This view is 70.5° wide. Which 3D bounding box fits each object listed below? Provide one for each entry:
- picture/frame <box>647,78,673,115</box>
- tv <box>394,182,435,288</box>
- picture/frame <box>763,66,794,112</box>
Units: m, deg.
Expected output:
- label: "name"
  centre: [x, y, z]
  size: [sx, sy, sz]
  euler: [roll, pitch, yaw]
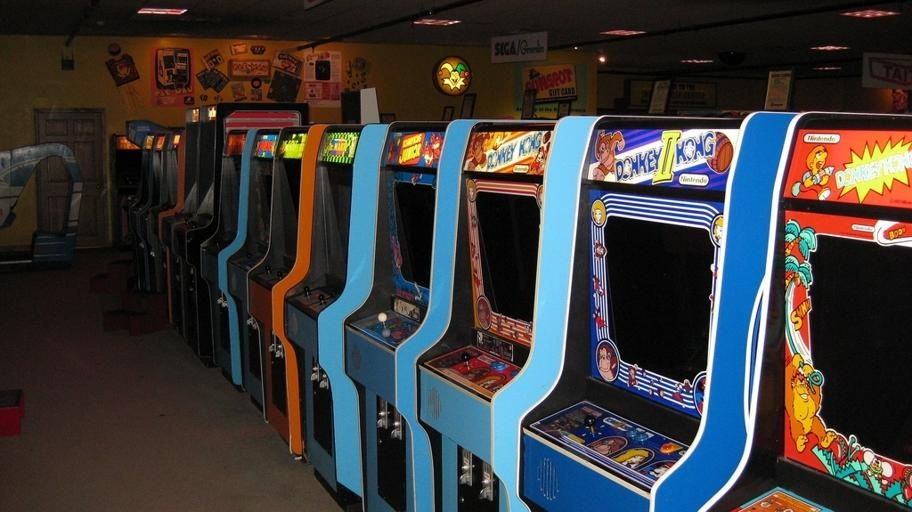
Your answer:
- label: "picture/frame"
  centre: [1.702, -1.315, 5.386]
  size: [0.167, 0.270, 0.024]
  euler: [12, 6, 40]
- label: "tv"
  centre: [-0.242, -0.150, 3.921]
  size: [0.051, 0.721, 0.557]
  euler: [-11, 18, -36]
- label: "picture/frame"
  centre: [2.215, -1.134, 4.409]
  size: [0.172, 0.270, 0.164]
  euler: [12, 19, 39]
